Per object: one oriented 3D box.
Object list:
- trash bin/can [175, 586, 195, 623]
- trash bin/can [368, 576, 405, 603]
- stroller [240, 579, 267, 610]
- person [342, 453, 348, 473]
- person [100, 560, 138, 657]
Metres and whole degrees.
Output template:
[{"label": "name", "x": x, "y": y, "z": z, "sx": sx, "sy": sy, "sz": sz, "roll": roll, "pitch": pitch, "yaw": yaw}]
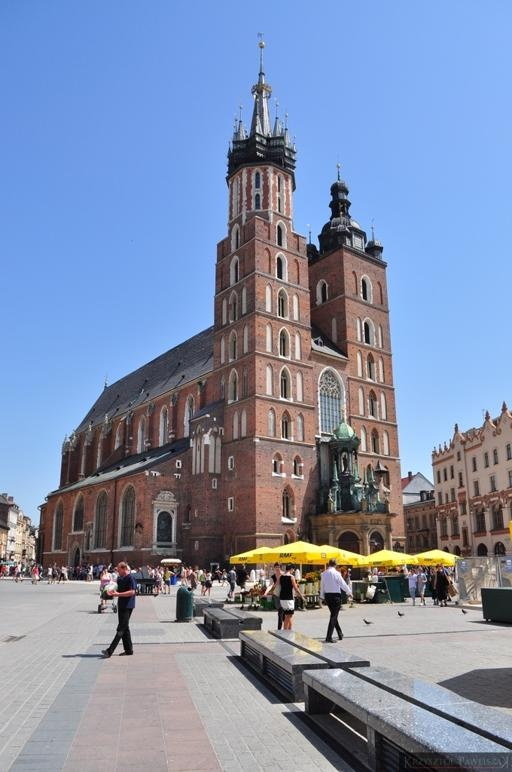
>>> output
[{"label": "trash bin/can", "x": -2.101, "y": 6.425, "z": 15.756, "sx": 0.470, "sy": 0.971, "sz": 0.865, "roll": 0, "pitch": -16, "yaw": -9}, {"label": "trash bin/can", "x": 6.094, "y": 9.605, "z": 25.127, "sx": 1.087, "sy": 0.829, "sz": 0.622, "roll": -1, "pitch": -4, "yaw": -2}, {"label": "stroller", "x": 0.102, "y": 8.511, "z": 21.765, "sx": 1.255, "sy": 1.159, "sz": 2.072, "roll": 5, "pitch": -24, "yaw": -8}, {"label": "person", "x": 6.604, "y": 5.686, "z": 39.848, "sx": 0.448, "sy": 1.448, "sz": 0.796, "roll": -6, "pitch": -16, "yaw": 14}, {"label": "person", "x": -2.415, "y": 4.000, "z": 9.628, "sx": 0.486, "sy": 1.599, "sz": 2.036, "roll": 2, "pitch": -16, "yaw": -13}]
